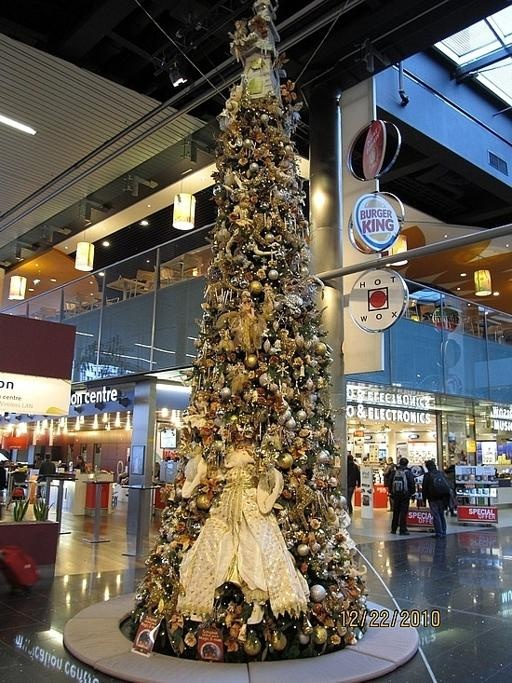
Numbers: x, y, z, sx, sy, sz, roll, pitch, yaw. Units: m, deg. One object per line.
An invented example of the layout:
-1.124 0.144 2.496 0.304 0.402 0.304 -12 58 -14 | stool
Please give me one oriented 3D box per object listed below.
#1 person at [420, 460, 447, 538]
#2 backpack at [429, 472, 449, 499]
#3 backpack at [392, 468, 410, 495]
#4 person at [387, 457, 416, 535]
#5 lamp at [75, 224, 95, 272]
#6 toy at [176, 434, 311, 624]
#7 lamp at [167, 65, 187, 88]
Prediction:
3.182 2.786 8.912 0.510 1.261 0.457 0 -14 1 | person
3.248 2.507 8.799 0.373 0.477 0.197 3 -10 -13 | backpack
2.640 2.559 9.216 0.390 0.516 0.284 -2 -37 17 | backpack
2.681 2.838 9.364 0.543 1.324 0.494 -3 -13 37 | person
-3.573 -1.816 10.463 0.306 0.694 0.663 4 -10 -18 | lamp
-0.070 0.951 2.548 0.651 0.781 0.325 0 -10 4 | toy
-0.969 -3.252 6.155 0.256 0.241 0.166 -7 -12 38 | lamp
